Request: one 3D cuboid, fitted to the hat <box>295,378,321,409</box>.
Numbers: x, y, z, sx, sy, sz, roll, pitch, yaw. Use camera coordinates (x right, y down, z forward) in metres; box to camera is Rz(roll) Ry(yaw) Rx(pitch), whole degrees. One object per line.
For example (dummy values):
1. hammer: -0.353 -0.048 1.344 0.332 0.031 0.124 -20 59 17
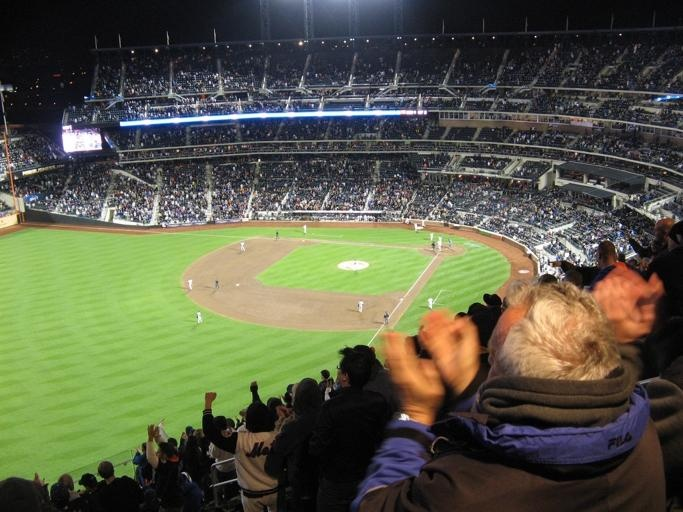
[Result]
1. hat: -0.453 1.893 7.016 0.376 0.460 0.573 0 5 -5
